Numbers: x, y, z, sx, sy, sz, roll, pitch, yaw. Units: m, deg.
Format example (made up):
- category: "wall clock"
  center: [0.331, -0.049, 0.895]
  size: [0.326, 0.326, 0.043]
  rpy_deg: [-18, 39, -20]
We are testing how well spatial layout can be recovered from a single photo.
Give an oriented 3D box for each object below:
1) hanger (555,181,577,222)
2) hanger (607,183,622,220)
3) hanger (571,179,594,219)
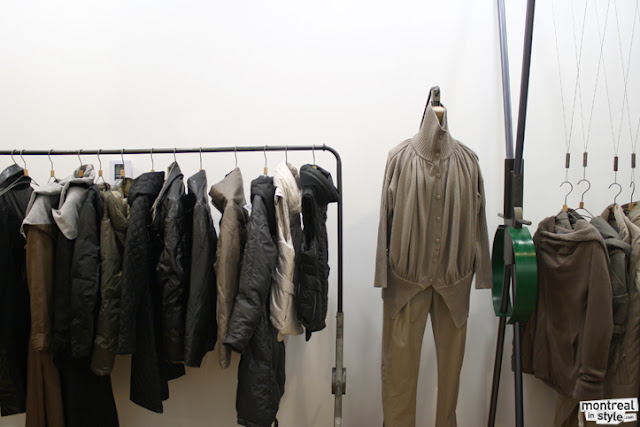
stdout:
- category: "hanger"
  center: [1.610, -0.077, 3.963]
  size: [0.018, 0.266, 0.123]
  rpy_deg: [-1, -1, -17]
- category: "hanger"
  center: [2.025, -0.103, 4.120]
  size: [0.084, 0.244, 0.423]
  rpy_deg: [0, -1, 26]
- category: "hanger"
  center: [1.832, -0.105, 4.203]
  size: [0.197, 0.247, 0.010]
  rpy_deg: [8, -1, -17]
